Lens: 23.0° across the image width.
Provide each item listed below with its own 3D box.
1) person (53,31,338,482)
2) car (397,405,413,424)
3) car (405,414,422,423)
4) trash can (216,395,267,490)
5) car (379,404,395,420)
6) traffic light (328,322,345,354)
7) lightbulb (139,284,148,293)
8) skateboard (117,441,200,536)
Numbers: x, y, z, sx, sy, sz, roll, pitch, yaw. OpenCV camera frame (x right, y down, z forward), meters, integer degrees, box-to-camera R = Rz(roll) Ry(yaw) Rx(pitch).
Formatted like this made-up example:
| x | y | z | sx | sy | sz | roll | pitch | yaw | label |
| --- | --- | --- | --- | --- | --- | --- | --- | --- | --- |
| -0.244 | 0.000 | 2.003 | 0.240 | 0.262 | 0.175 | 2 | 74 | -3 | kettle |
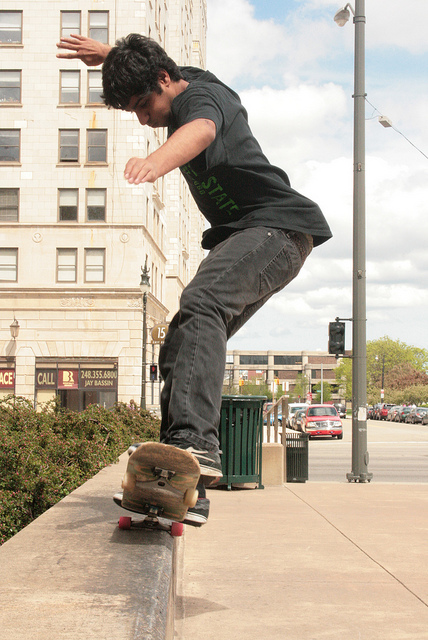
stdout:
| x | y | z | sx | sy | sz | roll | pitch | yaw | label |
| --- | --- | --- | --- | --- | --- | --- | --- | --- | --- |
| -0.066 | -0.234 | 4.458 | 0.546 | 1.822 | 1.292 | -2 | -6 | 36 | person |
| 12.238 | 6.257 | 67.391 | 0.759 | 0.730 | 1.695 | -2 | -1 | 6 | car |
| 11.950 | 6.077 | 63.046 | 0.815 | 0.615 | 1.821 | 1 | 0 | 10 | car |
| 0.222 | 1.124 | 9.841 | 0.576 | 0.732 | 0.593 | 1 | 0 | 24 | trash can |
| 13.352 | 7.484 | 82.210 | 1.065 | 0.965 | 1.803 | 1 | 6 | 12 | car |
| 2.206 | 0.370 | 19.089 | 0.254 | 0.556 | 0.569 | 0 | -5 | 12 | traffic light |
| -1.701 | -0.717 | 25.478 | 0.186 | 0.237 | 0.222 | 2 | 1 | 3 | lightbulb |
| -0.214 | 0.621 | 3.952 | 0.248 | 0.299 | 0.361 | 3 | -5 | -25 | skateboard |
